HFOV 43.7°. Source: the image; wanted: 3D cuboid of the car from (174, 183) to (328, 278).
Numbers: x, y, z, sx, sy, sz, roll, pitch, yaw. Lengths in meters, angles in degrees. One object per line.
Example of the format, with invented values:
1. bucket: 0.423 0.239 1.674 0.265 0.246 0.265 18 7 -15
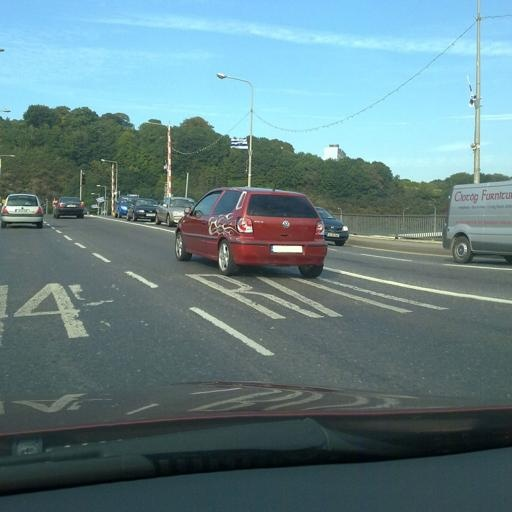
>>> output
1. car: -0.200 -0.515 11.567 1.454 1.115 2.519 1 10 -23
